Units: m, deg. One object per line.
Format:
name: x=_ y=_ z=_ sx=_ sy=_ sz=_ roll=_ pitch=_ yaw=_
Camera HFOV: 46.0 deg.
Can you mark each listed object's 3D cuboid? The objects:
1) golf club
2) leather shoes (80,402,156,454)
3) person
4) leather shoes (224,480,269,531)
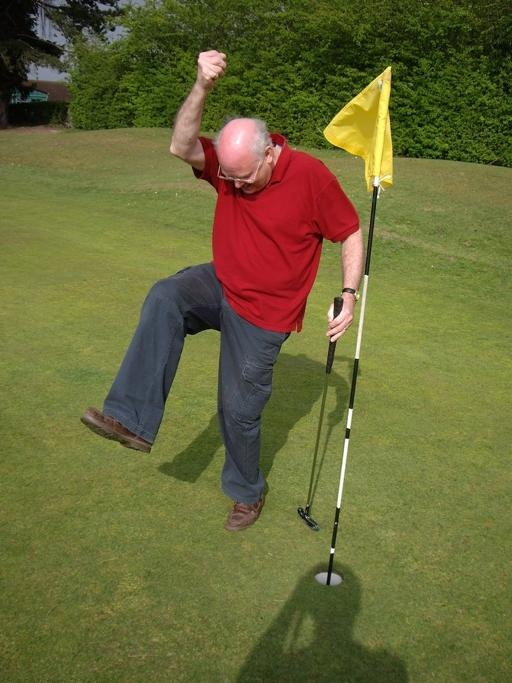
golf club: x=0.329 y=0.321 z=3.044 sx=0.259 sy=1.118 sz=0.237 roll=0 pitch=20 yaw=-7
leather shoes: x=-0.637 y=0.402 z=2.766 sx=0.298 sy=0.275 sz=0.219 roll=-2 pitch=18 yaw=-17
person: x=-0.198 y=-0.143 z=2.703 sx=0.974 sy=1.999 sz=1.367 roll=28 pitch=29 yaw=36
leather shoes: x=-0.058 y=0.831 z=2.992 sx=0.180 sy=0.117 sz=0.256 roll=-2 pitch=21 yaw=-4
